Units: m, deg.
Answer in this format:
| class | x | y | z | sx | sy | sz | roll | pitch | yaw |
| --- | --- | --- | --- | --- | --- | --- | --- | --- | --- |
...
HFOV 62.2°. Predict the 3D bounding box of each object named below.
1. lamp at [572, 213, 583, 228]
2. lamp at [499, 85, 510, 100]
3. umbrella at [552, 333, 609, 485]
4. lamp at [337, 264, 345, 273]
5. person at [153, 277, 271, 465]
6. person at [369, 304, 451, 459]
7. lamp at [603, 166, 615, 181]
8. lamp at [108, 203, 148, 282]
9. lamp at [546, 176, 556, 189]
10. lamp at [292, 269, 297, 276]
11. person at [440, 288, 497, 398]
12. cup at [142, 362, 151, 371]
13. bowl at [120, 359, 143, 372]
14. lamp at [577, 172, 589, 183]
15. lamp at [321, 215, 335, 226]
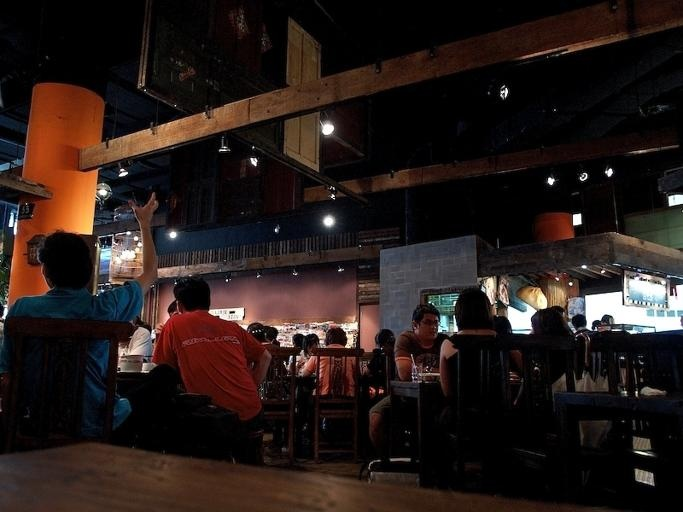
| class | x | y | z | sx | sy | sz | roll | pitch | yaw |
| --- | --- | --- | --- | --- | --- | --- | --- | --- | --- |
| lamp | 4.353 | -0.700 | 10.491 | 0.136 | 0.259 | 0.505 | -3 | -10 | 22 |
| lamp | 2.224 | -2.235 | 7.755 | 0.125 | 0.184 | 0.216 | -2 | -10 | 18 |
| umbrella | 1.530 | 0.885 | 3.477 | 0.328 | 0.629 | 0.369 | 0 | 5 | 15 |
| lamp | -0.007 | 0.270 | 12.369 | 0.149 | 0.158 | 0.160 | -1 | -32 | -3 |
| person | -0.889 | 0.913 | 3.804 | 0.780 | 1.533 | 0.636 | -7 | -5 | 43 |
| person | 0.622 | 1.051 | 4.615 | 0.547 | 1.261 | 0.578 | -3 | 15 | -37 |
| lamp | 4.163 | -1.310 | 8.932 | 0.194 | 0.214 | 0.209 | -17 | 21 | -26 |
| lamp | -4.065 | -0.103 | 10.744 | 0.727 | 1.154 | 0.655 | 3 | -1 | -35 |
| lamp | 3.262 | -1.152 | 8.735 | 0.143 | 0.214 | 0.201 | -4 | 1 | -11 |
| lamp | -1.048 | 0.373 | 12.845 | 0.138 | 0.165 | 0.169 | 1 | -4 | 1 |
| person | 0.818 | 0.648 | 3.789 | 0.394 | 0.990 | 0.259 | -7 | 12 | -20 |
| cup | -1.215 | 0.704 | 3.592 | 0.057 | 0.044 | 0.058 | 7 | -4 | 0 |
| bowl | -1.332 | 0.697 | 3.600 | 0.120 | 0.097 | 0.128 | 1 | -10 | 0 |
| lamp | 3.923 | -1.255 | 9.147 | 0.041 | 0.184 | 0.171 | 8 | 0 | -34 |
| lamp | -0.254 | -0.715 | 11.846 | 0.219 | 0.239 | 0.123 | 19 | 7 | -14 |
